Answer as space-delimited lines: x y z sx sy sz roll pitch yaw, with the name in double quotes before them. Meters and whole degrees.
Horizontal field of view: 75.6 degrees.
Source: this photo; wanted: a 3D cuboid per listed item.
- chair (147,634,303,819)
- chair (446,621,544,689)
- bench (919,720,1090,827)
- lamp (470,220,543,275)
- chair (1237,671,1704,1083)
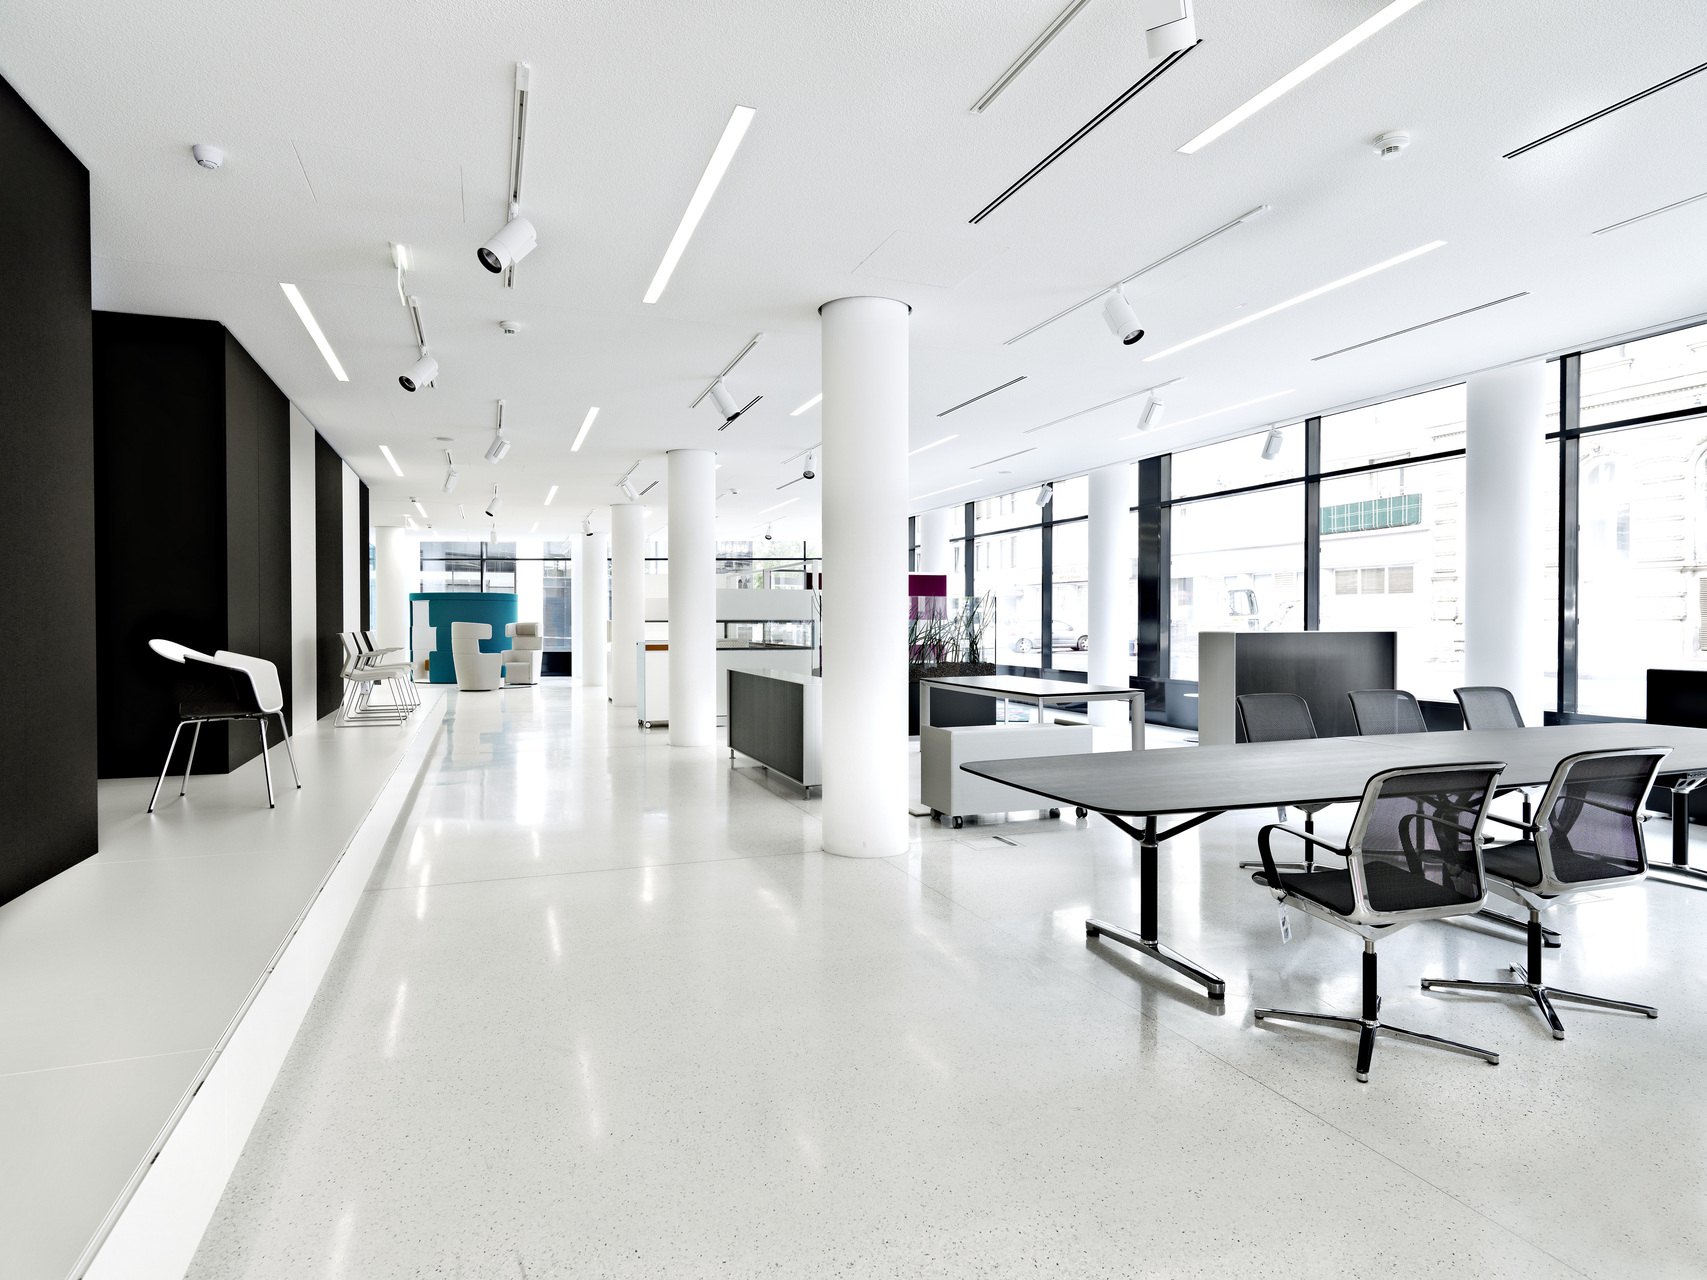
"chair" -3.898 0.510 6.827 0.734 0.951 0.757 -2 -1 -18
"chair" -6.308 0.266 19.465 1.088 1.184 1.525 2 4 42
"bench" 0.961 0.928 7.756 1.286 0.668 0.622 0 0 -16
"lamp" -1.688 -1.945 5.414 0.247 0.269 0.332 -5 11 -10
"chair" 2.507 1.013 4.521 1.677 1.200 0.711 -8 12 -20
